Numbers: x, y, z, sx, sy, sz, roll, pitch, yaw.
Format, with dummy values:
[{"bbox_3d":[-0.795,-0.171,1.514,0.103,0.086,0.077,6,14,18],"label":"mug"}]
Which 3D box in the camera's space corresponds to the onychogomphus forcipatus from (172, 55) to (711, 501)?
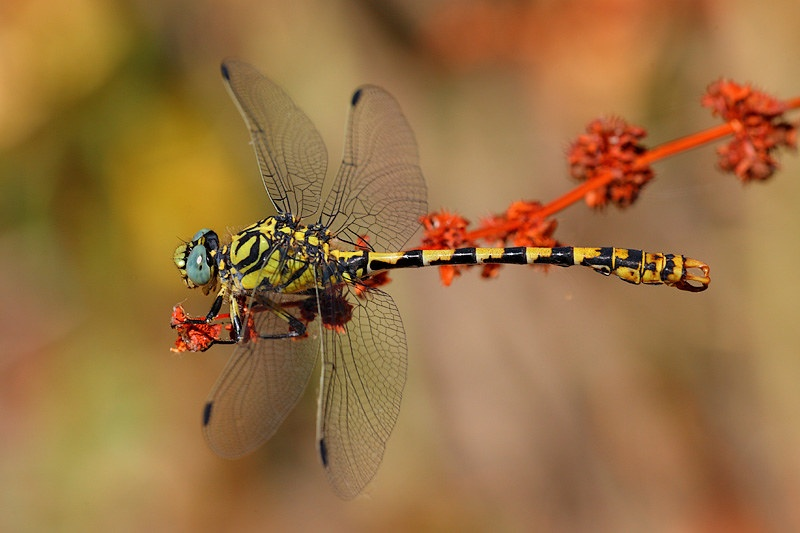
[{"bbox_3d":[0.065,-0.007,2.861,1.771,1.588,0.748,1,-53,13],"label":"onychogomphus forcipatus"}]
